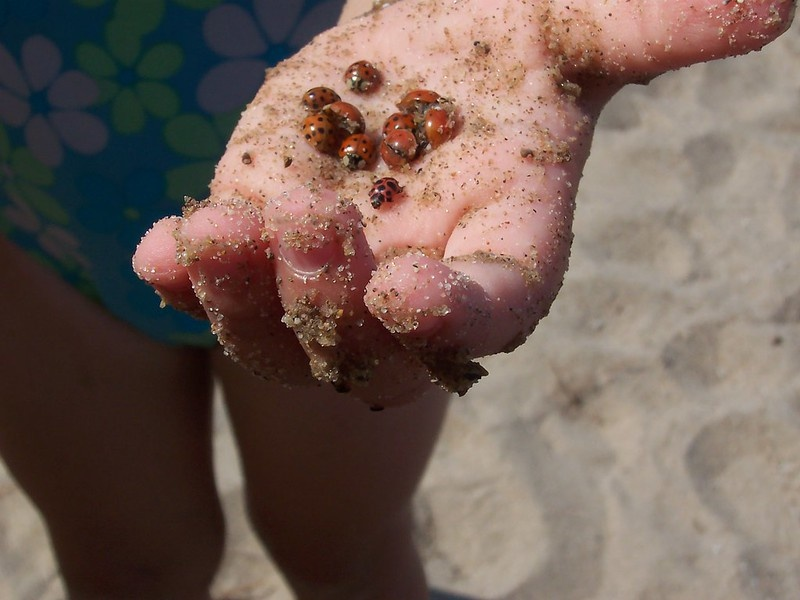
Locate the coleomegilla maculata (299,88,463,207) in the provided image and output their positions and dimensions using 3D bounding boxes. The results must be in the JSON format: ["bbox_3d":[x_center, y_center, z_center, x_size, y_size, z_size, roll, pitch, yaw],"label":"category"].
[{"bbox_3d":[-0.033,-0.327,2.122,0.241,0.076,0.266,-2,80,4],"label":"coleomegilla maculata"}]
